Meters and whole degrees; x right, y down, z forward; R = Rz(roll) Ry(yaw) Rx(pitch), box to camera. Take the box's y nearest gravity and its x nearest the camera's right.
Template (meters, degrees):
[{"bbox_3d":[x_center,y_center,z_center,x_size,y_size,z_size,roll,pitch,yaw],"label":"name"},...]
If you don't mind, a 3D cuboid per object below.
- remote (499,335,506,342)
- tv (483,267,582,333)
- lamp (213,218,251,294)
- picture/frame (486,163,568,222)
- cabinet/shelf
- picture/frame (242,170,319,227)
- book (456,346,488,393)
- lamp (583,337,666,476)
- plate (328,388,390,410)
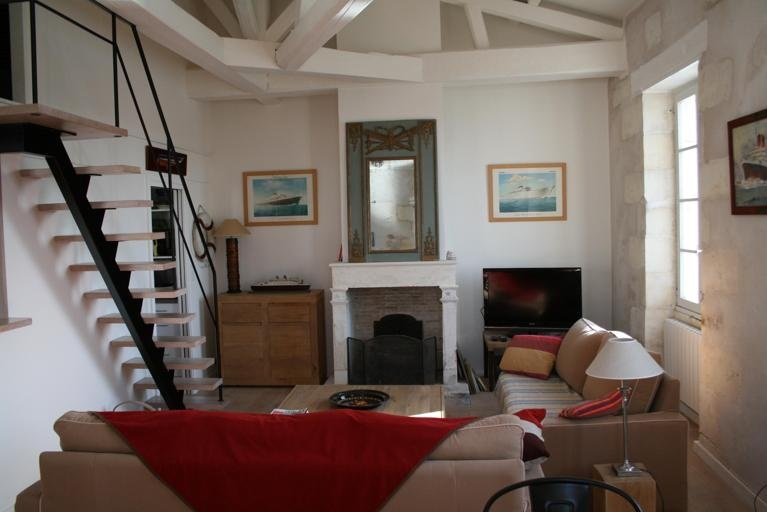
[{"bbox_3d":[1.436,0.996,6.753,0.056,0.065,0.169,1,5,11],"label":"remote"},{"bbox_3d":[1.848,0.528,6.820,0.827,0.546,0.212,1,3,8],"label":"tv"},{"bbox_3d":[-2.005,-0.006,7.476,0.442,0.959,0.499,-5,7,-16],"label":"lamp"},{"bbox_3d":[1.878,-0.834,7.174,0.789,0.571,0.028,-1,4,6],"label":"picture/frame"},{"bbox_3d":[-1.467,1.058,7.488,1.288,1.157,0.719,-1,5,3],"label":"cabinet/shelf"},{"bbox_3d":[-1.354,-0.802,7.585,0.819,0.553,0.018,-1,5,3],"label":"picture/frame"},{"bbox_3d":[1.164,1.414,6.907,0.108,0.451,0.449,-25,-22,10],"label":"book"},{"bbox_3d":[1.836,1.101,4.226,0.443,0.996,0.546,3,9,41],"label":"lamp"},{"bbox_3d":[-0.219,1.291,5.025,0.346,0.037,0.335,-2,4,-16],"label":"plate"}]
